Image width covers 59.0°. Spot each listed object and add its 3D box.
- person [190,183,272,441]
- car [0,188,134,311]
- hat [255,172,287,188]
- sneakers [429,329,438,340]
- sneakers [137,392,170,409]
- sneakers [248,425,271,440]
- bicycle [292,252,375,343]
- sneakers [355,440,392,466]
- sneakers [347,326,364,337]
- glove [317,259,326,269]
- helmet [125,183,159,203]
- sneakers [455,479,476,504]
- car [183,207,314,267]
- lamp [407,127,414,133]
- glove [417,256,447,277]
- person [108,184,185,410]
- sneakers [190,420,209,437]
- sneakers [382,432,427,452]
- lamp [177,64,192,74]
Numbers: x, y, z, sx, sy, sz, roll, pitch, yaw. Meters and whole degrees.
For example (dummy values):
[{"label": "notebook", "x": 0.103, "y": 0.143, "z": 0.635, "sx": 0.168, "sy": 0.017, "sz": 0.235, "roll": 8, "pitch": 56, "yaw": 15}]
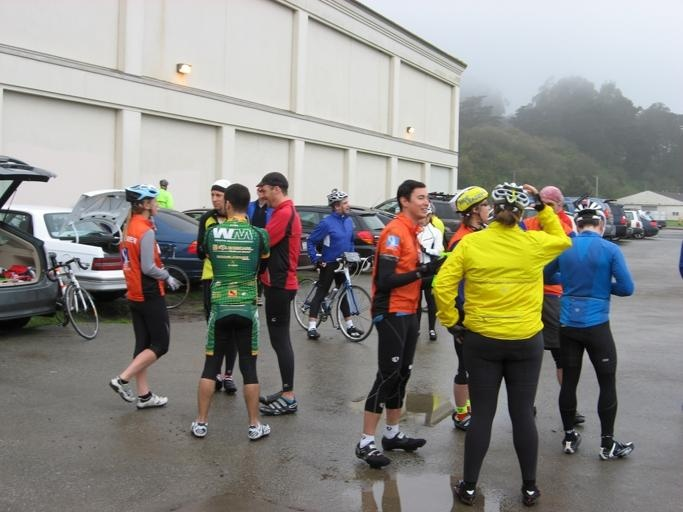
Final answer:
[{"label": "person", "x": -1.017, "y": 0.679, "z": 5.451, "sx": 0.714, "sy": 1.968, "sz": 0.313, "roll": 0, "pitch": 4, "yaw": -9}, {"label": "car", "x": -4.455, "y": -0.212, "z": 10.205, "sx": 3.171, "sy": 1.413, "sz": 1.773, "roll": 11, "pitch": 12, "yaw": 37}, {"label": "hat", "x": -0.720, "y": -0.766, "z": 6.103, "sx": 0.233, "sy": 0.129, "sz": 0.172, "roll": 11, "pitch": 8, "yaw": 8}, {"label": "sneakers", "x": 1.464, "y": 1.300, "z": 9.826, "sx": 0.131, "sy": 0.151, "sz": 0.357, "roll": -1, "pitch": -4, "yaw": 6}, {"label": "sneakers", "x": -1.989, "y": 1.507, "z": 6.252, "sx": 0.321, "sy": 0.146, "sz": 0.138, "roll": -2, "pitch": 7, "yaw": -19}, {"label": "sneakers", "x": -0.768, "y": 1.600, "z": 5.530, "sx": 0.089, "sy": 0.105, "sz": 0.253, "roll": 2, "pitch": 7, "yaw": 26}, {"label": "bicycle", "x": -0.010, "y": 0.858, "z": 10.251, "sx": 0.807, "sy": 1.390, "sz": 1.998, "roll": 8, "pitch": -6, "yaw": -44}, {"label": "sneakers", "x": 0.233, "y": 1.643, "z": 5.023, "sx": 0.143, "sy": 0.163, "sz": 0.335, "roll": -9, "pitch": 11, "yaw": -39}, {"label": "sneakers", "x": 0.173, "y": 1.221, "z": 9.600, "sx": 0.135, "sy": 0.103, "sz": 0.242, "roll": -4, "pitch": -1, "yaw": -40}, {"label": "glove", "x": -0.345, "y": 0.141, "z": 9.648, "sx": 0.178, "sy": 0.107, "sz": 0.127, "roll": 15, "pitch": 7, "yaw": 25}, {"label": "helmet", "x": -2.092, "y": -0.638, "z": 6.172, "sx": 0.279, "sy": 0.141, "sz": 0.202, "roll": 2, "pitch": 9, "yaw": -13}, {"label": "sneakers", "x": 0.904, "y": 1.751, "z": 4.448, "sx": 0.082, "sy": 0.102, "sz": 0.222, "roll": 0, "pitch": 5, "yaw": -2}, {"label": "car", "x": -2.381, "y": -0.411, "z": 16.674, "sx": 3.179, "sy": 1.677, "sz": 1.891, "roll": 3, "pitch": 6, "yaw": 24}, {"label": "lamp", "x": 3.683, "y": -6.913, "z": 33.087, "sx": 0.320, "sy": 0.323, "sz": 0.238, "roll": 3, "pitch": -5, "yaw": 10}, {"label": "glove", "x": 0.697, "y": 0.087, "z": 4.744, "sx": 0.141, "sy": 0.072, "sz": 0.186, "roll": -6, "pitch": 22, "yaw": 42}, {"label": "person", "x": -2.093, "y": 0.419, "z": 6.194, "sx": 0.528, "sy": 2.279, "sz": 0.627, "roll": 5, "pitch": 6, "yaw": 39}, {"label": "sneakers", "x": -1.324, "y": 1.582, "z": 5.475, "sx": 0.080, "sy": 0.086, "sz": 0.202, "roll": 1, "pitch": 5, "yaw": -6}, {"label": "sneakers", "x": 0.527, "y": 1.648, "z": 5.353, "sx": 0.415, "sy": 0.195, "sz": 0.153, "roll": -1, "pitch": 0, "yaw": 2}, {"label": "lamp", "x": -5.273, "y": -6.079, "z": 19.634, "sx": 0.392, "sy": 0.352, "sz": 0.164, "roll": -6, "pitch": 39, "yaw": -36}]
